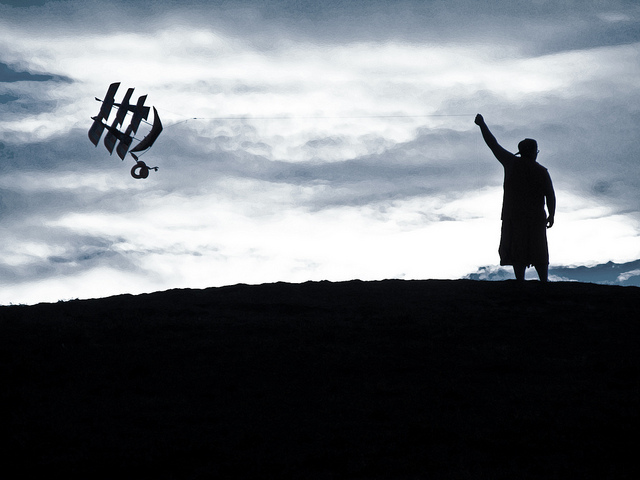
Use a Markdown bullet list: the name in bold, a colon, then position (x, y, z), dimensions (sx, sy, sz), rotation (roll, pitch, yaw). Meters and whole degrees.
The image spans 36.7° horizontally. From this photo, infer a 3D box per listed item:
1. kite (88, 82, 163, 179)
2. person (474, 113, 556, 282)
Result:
- **kite**: position (-3.004, -1.760, 14.520), dimensions (1.229, 0.926, 0.485), rotation (23, 43, 5)
- **person**: position (2.518, -0.545, 12.408), dimensions (0.885, 2.135, 0.536), rotation (-3, -6, 17)
